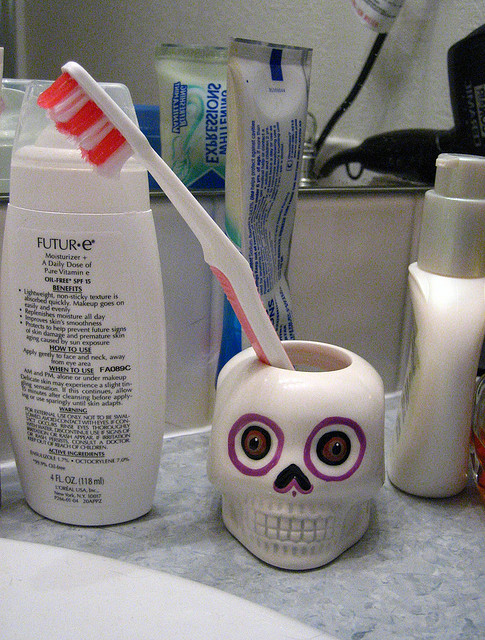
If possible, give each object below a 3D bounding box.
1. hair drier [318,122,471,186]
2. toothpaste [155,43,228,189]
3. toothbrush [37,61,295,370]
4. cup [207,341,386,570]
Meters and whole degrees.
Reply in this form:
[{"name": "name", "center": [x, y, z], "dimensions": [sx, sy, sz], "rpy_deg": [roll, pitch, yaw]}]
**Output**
[{"name": "hair drier", "center": [0.121, -0.132, 0.536], "dimensions": [0.041, 0.059, 0.195], "rpy_deg": [10, 4, -26]}, {"name": "toothpaste", "center": [-0.028, -0.134, 0.410], "dimensions": [0.049, 0.100, 0.026], "rpy_deg": [-12, 52, -10]}, {"name": "toothbrush", "center": [-0.021, -0.032, 0.291], "dimensions": [0.050, 0.195, 0.021], "rpy_deg": [7, 53, 42]}, {"name": "cup", "center": [0.029, 0.060, 0.336], "dimensions": [0.084, 0.101, 0.113], "rpy_deg": [3, 20, 8]}]
